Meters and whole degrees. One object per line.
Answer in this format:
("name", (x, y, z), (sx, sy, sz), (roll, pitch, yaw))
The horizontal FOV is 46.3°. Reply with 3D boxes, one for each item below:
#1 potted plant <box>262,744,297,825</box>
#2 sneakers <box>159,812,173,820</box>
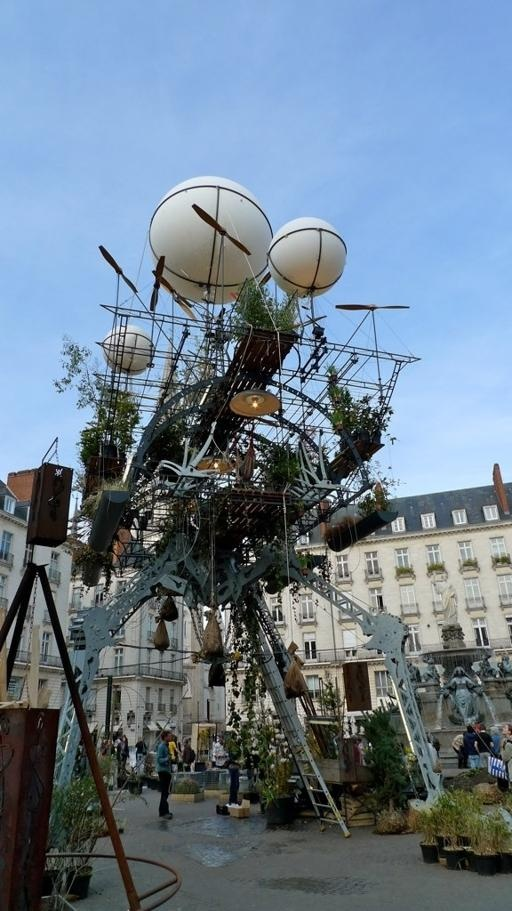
("potted plant", (0.442, 6.465, 11.554), (0.584, 1.240, 0.675), (-3, -15, -1))
("sneakers", (-1.921, 7.833, 12.911), (0.113, 0.251, 0.346), (17, -39, -32))
